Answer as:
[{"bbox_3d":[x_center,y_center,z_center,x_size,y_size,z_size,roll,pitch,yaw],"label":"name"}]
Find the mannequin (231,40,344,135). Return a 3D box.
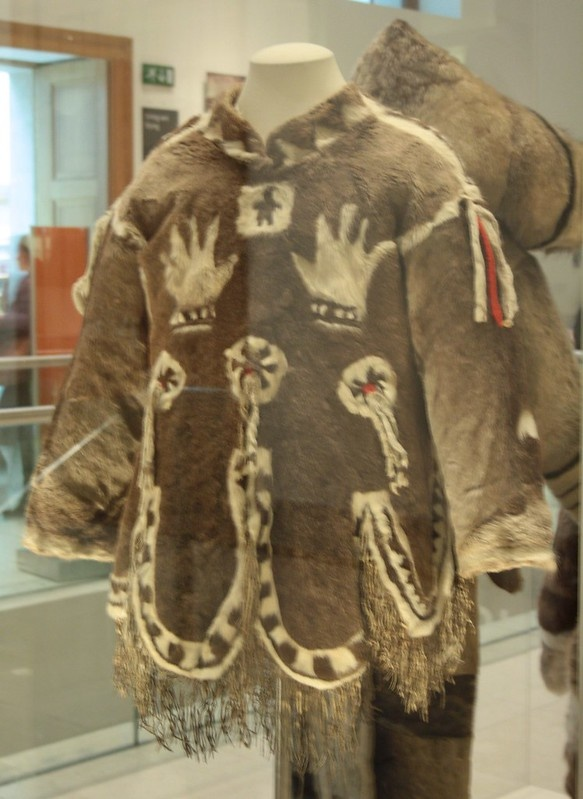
[{"bbox_3d":[-0.007,-0.335,1.002,0.113,0.102,0.062,-5,3,-6],"label":"mannequin"}]

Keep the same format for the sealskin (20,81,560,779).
[{"bbox_3d":[-0.001,0.038,1.033,0.588,0.746,0.154,-7,12,-17],"label":"sealskin"}]
